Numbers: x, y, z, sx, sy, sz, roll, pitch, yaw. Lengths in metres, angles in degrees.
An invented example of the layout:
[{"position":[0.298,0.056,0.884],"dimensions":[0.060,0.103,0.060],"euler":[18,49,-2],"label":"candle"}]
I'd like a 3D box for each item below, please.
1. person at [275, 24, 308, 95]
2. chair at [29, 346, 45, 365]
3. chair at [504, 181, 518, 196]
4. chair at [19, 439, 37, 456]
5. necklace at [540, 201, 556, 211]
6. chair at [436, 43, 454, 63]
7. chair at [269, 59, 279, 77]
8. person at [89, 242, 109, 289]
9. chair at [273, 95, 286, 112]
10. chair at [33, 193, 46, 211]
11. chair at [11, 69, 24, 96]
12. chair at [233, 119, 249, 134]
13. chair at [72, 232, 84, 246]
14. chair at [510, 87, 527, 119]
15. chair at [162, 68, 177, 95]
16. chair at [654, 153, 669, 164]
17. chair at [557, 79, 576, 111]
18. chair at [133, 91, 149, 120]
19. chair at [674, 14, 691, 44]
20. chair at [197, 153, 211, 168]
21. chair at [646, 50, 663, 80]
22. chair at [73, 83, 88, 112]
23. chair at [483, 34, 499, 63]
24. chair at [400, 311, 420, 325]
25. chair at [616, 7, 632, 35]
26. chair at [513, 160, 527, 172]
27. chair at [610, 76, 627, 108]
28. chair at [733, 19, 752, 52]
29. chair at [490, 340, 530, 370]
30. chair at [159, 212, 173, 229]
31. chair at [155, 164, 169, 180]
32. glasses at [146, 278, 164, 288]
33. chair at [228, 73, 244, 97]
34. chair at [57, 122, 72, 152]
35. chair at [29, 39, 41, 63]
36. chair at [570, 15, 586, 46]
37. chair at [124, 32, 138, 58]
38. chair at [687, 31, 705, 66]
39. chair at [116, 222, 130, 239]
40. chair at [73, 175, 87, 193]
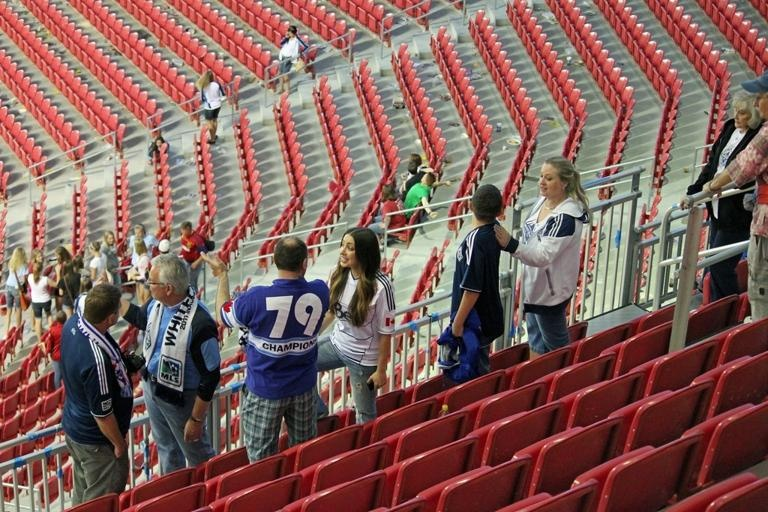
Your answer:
[{"position":[-1.711,-3.618,28.870],"dimensions":[0.684,1.061,0.426],"euler":[-13,-4,-1],"label":"person"},{"position":[-5.116,1.497,23.174],"dimensions":[0.244,0.279,0.219],"euler":[2,9,0],"label":"chair"},{"position":[1.927,-0.999,23.767],"dimensions":[0.237,0.201,0.227],"euler":[5,-38,-9],"label":"chair"},{"position":[-4.787,2.605,21.101],"dimensions":[0.275,0.148,0.630],"euler":[-12,-4,-11],"label":"chair"},{"position":[1.881,-0.576,18.349],"dimensions":[0.101,0.130,0.052],"euler":[5,-7,28],"label":"necklace"},{"position":[1.088,-3.636,28.154],"dimensions":[0.138,0.138,0.449],"euler":[32,18,-21],"label":"chair"},{"position":[-2.040,-3.476,28.977],"dimensions":[0.277,0.287,0.352],"euler":[2,-6,-3],"label":"chair"},{"position":[-4.306,0.131,23.606],"dimensions":[0.303,0.517,0.737],"euler":[-13,-4,-10],"label":"person"},{"position":[-1.884,-2.728,28.236],"dimensions":[0.263,0.315,0.233],"euler":[-7,35,-16],"label":"chair"},{"position":[-6.050,-0.924,27.621],"dimensions":[0.231,0.296,0.221],"euler":[-2,35,-29],"label":"chair"},{"position":[-7.261,-3.412,31.117],"dimensions":[0.353,0.451,0.181],"euler":[-3,-6,4],"label":"chair"},{"position":[-2.516,-2.271,27.696],"dimensions":[0.325,0.275,0.380],"euler":[1,-6,-10],"label":"chair"},{"position":[-5.153,-0.269,26.578],"dimensions":[0.195,0.183,0.191],"euler":[1,-10,41],"label":"chair"},{"position":[2.243,-2.572,26.120],"dimensions":[0.128,0.404,0.277],"euler":[12,0,-40],"label":"chair"},{"position":[-4.100,-3.308,29.972],"dimensions":[0.168,0.197,0.558],"euler":[6,28,-40],"label":"chair"},{"position":[4.152,-1.452,23.619],"dimensions":[0.153,0.172,0.202],"euler":[-6,-17,23],"label":"chair"},{"position":[3.022,-2.665,26.211],"dimensions":[0.156,0.225,0.619],"euler":[12,35,-10],"label":"chair"},{"position":[-4.586,-2.806,29.586],"dimensions":[0.150,0.227,0.625],"euler":[-3,38,-45],"label":"chair"},{"position":[5.243,-4.068,27.659],"dimensions":[0.135,0.575,0.230],"euler":[9,-39,2],"label":"chair"},{"position":[-3.097,-1.617,27.216],"dimensions":[0.224,0.220,0.219],"euler":[12,17,-42],"label":"chair"},{"position":[4.585,-3.281,26.728],"dimensions":[0.148,0.390,0.288],"euler":[-2,-12,16],"label":"chair"},{"position":[-5.865,-3.036,30.385],"dimensions":[0.218,0.636,0.235],"euler":[-30,-37,-9],"label":"chair"},{"position":[1.890,-3.695,28.095],"dimensions":[0.162,0.205,0.670],"euler":[-24,37,7],"label":"chair"},{"position":[0.309,0.819,20.571],"dimensions":[0.258,0.131,0.655],"euler":[-13,-4,9],"label":"chair"},{"position":[4.361,-4.283,28.256],"dimensions":[0.169,0.616,0.134],"euler":[13,-33,-29],"label":"chair"},{"position":[2.064,-1.361,24.066],"dimensions":[0.152,0.187,0.164],"euler":[-2,-7,41],"label":"chair"},{"position":[3.893,-2.721,25.844],"dimensions":[0.278,0.412,0.218],"euler":[-7,-16,16],"label":"chair"},{"position":[6.168,-3.795,27.161],"dimensions":[0.264,0.249,0.686],"euler":[-11,43,10],"label":"chair"},{"position":[1.483,1.209,18.751],"dimensions":[0.361,0.476,0.355],"euler":[-24,44,-20],"label":"chair"},{"position":[-3.621,-0.577,26.033],"dimensions":[0.309,0.272,0.360],"euler":[-2,-20,-12],"label":"chair"},{"position":[-3.854,-1.436,27.270],"dimensions":[0.340,0.266,0.287],"euler":[0,1,-7],"label":"chair"},{"position":[-2.616,0.325,17.852],"dimensions":[0.105,0.075,0.239],"euler":[-9,-5,-42],"label":"glasses"},{"position":[-2.754,-3.181,28.857],"dimensions":[0.187,0.579,0.230],"euler":[10,-18,-7],"label":"chair"},{"position":[-5.984,-2.204,29.430],"dimensions":[0.202,0.226,0.619],"euler":[-6,40,-37],"label":"chair"},{"position":[-7.109,-4.140,31.995],"dimensions":[0.157,0.398,0.325],"euler":[3,-4,3],"label":"chair"},{"position":[3.466,-4.032,28.235],"dimensions":[0.173,0.707,0.252],"euler":[10,-50,-18],"label":"chair"},{"position":[-5.054,-4.185,31.314],"dimensions":[0.159,0.174,0.520],"euler":[25,4,-23],"label":"chair"},{"position":[5.353,-3.556,27.046],"dimensions":[0.258,0.749,0.273],"euler":[-4,-42,-7],"label":"chair"},{"position":[-4.411,-0.412,26.439],"dimensions":[0.270,0.324,0.297],"euler":[0,2,1],"label":"chair"},{"position":[-5.417,-1.256,27.967],"dimensions":[0.231,0.319,0.206],"euler":[-4,33,-30],"label":"chair"}]
